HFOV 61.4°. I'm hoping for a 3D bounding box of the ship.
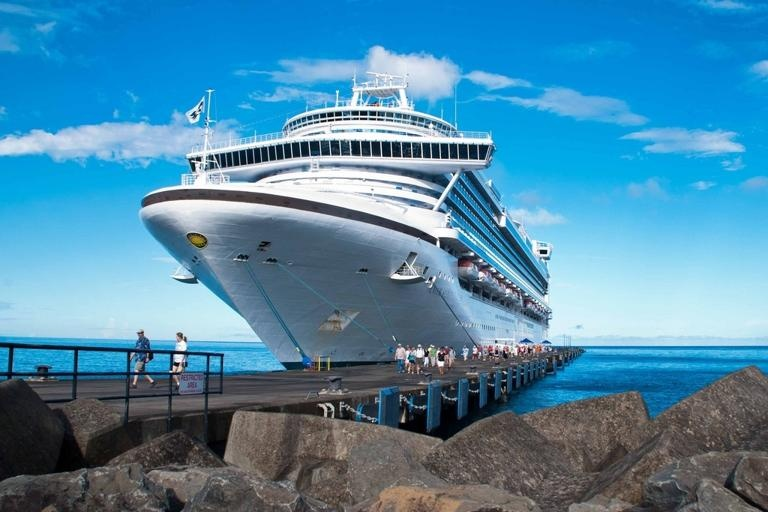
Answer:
[{"bbox_3d":[1.138,-0.844,40.735,15.574,13.016,39.680,2,-6,23],"label":"ship"}]
